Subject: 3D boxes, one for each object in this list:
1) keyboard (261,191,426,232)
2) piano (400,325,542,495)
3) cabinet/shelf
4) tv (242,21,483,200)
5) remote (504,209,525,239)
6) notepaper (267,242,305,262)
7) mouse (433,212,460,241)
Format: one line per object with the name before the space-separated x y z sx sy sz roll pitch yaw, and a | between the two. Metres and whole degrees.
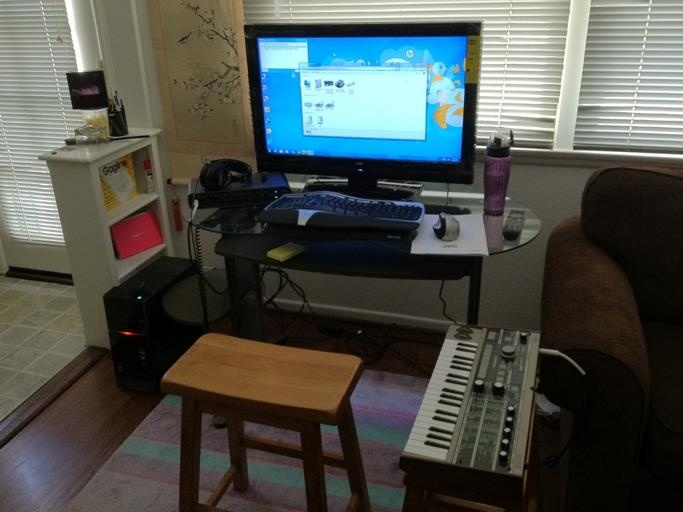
keyboard | 0.006 -0.155 1.962 0.567 0.086 0.290 3 24 11
piano | 0.368 0.425 1.494 0.305 0.162 0.545 5 36 19
cabinet/shelf | -1.133 -0.087 2.666 0.316 1.164 0.713 7 29 12
tv | 0.090 -0.586 2.145 0.729 0.530 0.196 6 32 11
remote | 0.632 -0.125 1.984 0.059 0.046 0.193 6 29 20
notepaper | -0.207 -0.011 1.965 0.091 0.026 0.131 16 29 35
mouse | 0.361 -0.100 1.899 0.094 0.082 0.072 12 31 31
